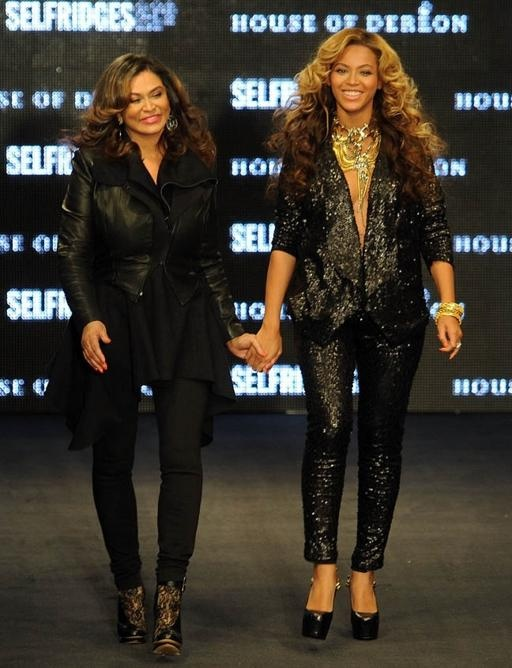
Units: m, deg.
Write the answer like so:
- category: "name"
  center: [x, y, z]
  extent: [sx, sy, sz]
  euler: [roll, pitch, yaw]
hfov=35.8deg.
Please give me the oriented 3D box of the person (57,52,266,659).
- category: "person"
  center: [-0.182, 0.049, 1.668]
  extent: [0.427, 1.252, 0.573]
  euler: [-3, 14, -19]

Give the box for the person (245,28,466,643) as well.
- category: "person"
  center: [0.214, -0.019, 1.727]
  extent: [0.454, 1.270, 0.459]
  euler: [2, 13, -1]

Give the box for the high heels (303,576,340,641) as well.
- category: "high heels"
  center: [0.130, 0.619, 1.712]
  extent: [0.061, 0.095, 0.144]
  euler: [3, 12, 7]
